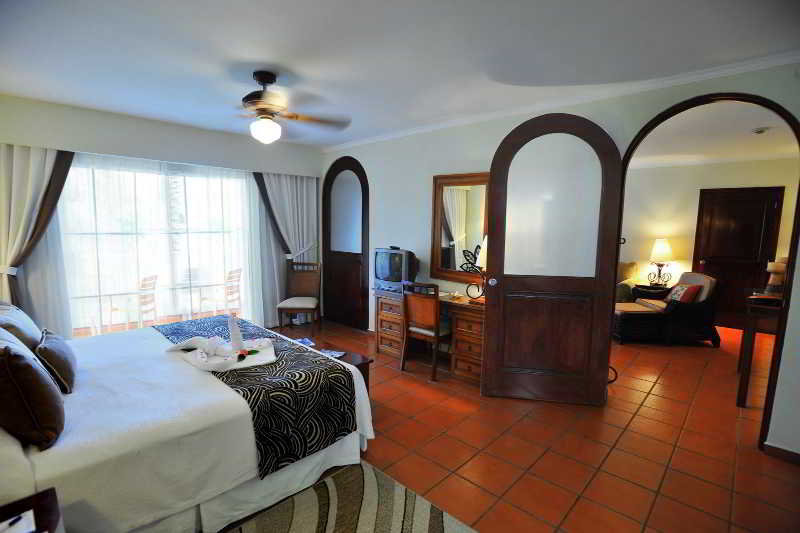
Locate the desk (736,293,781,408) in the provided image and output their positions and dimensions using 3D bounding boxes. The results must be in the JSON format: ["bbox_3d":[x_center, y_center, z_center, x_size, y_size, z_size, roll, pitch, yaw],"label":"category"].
[{"bbox_3d":[3.712,0.909,5.082,0.351,0.674,1.120,3,6,31],"label":"desk"}]

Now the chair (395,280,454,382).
[{"bbox_3d":[0.450,0.724,5.887,0.701,1.083,0.744,6,7,36],"label":"chair"}]

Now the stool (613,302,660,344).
[{"bbox_3d":[3.197,0.857,7.017,0.878,0.481,0.880,2,1,23],"label":"stool"}]

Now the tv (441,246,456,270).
[{"bbox_3d":[0.601,-0.101,5.985,0.143,0.277,0.265,-3,6,-33],"label":"tv"}]

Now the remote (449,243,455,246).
[{"bbox_3d":[0.637,-0.251,5.942,0.046,0.044,0.033,1,1,24],"label":"remote"}]

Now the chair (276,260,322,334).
[{"bbox_3d":[-1.400,0.476,6.992,0.558,0.904,0.623,1,10,3],"label":"chair"}]

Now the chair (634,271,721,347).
[{"bbox_3d":[3.904,0.559,6.950,0.927,0.976,1.004,1,8,-22],"label":"chair"}]

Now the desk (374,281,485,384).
[{"bbox_3d":[0.453,0.725,5.945,1.466,0.894,0.513,10,19,30],"label":"desk"}]

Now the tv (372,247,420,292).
[{"bbox_3d":[0.004,0.025,6.334,0.418,0.535,0.586,-4,9,-41],"label":"tv"}]

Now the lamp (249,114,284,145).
[{"bbox_3d":[-1.331,-1.385,4.942,0.255,0.268,0.318,-1,5,-9],"label":"lamp"}]

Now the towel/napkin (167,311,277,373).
[{"bbox_3d":[-1.569,0.573,4.429,0.627,0.256,0.636,1,1,-39],"label":"towel/napkin"}]

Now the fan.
[{"bbox_3d":[-1.326,-1.627,4.977,0.623,0.163,0.551,5,-16,-34],"label":"fan"}]
